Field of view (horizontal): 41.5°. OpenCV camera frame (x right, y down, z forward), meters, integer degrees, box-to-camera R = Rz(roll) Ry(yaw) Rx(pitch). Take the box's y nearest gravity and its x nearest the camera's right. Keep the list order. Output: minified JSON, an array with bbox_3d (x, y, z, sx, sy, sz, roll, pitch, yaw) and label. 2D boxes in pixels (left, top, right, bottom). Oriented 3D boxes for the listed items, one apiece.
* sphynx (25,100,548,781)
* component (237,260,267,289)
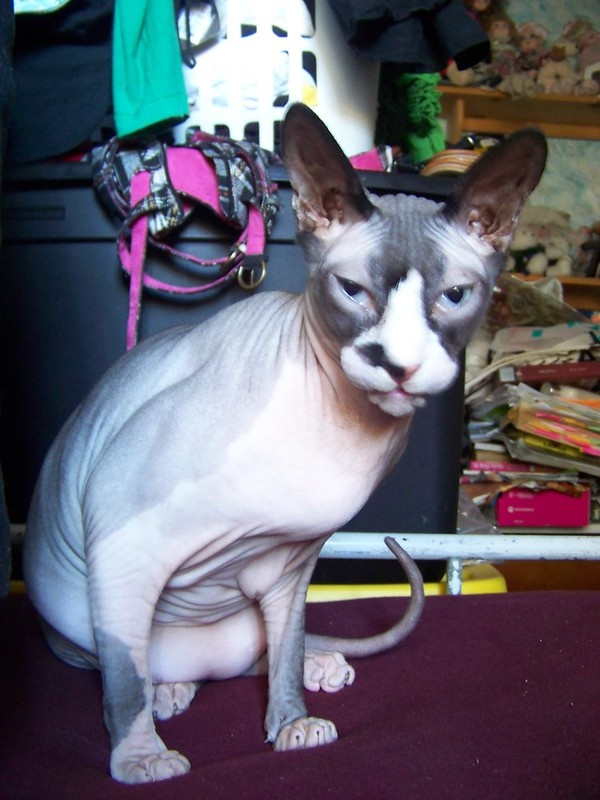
[{"bbox_3d":[-0.053,0.033,0.587,0.434,0.463,0.198,3,10,13],"label":"sphynx"},{"bbox_3d":[-0.057,-0.145,0.930,0.040,0.035,0.009,5,1,41],"label":"component"}]
